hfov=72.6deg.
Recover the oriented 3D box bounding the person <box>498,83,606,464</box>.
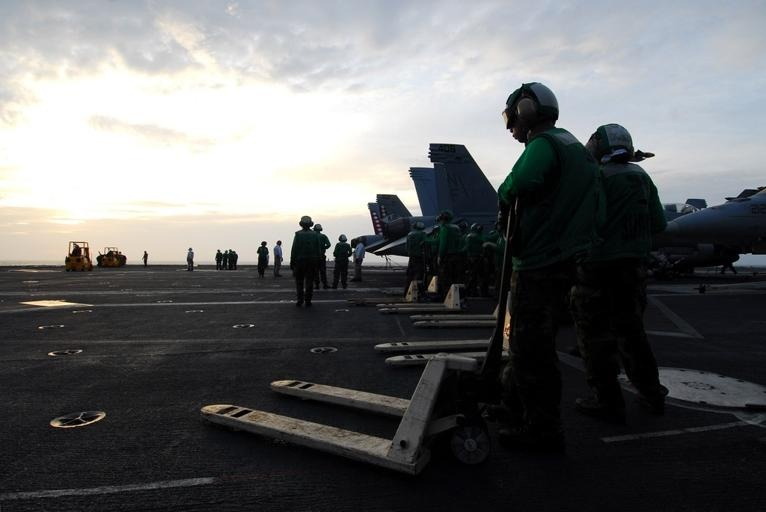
[{"bbox_3d":[1.277,0.071,4.201,0.808,2.882,0.843,4,13,20],"label":"person"}]

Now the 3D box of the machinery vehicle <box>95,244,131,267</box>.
[{"bbox_3d":[-22.784,0.346,43.580,3.095,1.744,1.910,2,6,34],"label":"machinery vehicle"}]

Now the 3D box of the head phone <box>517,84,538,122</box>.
[{"bbox_3d":[1.172,-1.278,4.333,0.206,0.257,0.249,-10,47,13],"label":"head phone"}]

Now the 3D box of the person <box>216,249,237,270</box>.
[{"bbox_3d":[-11.041,0.304,36.675,1.601,1.535,0.514,2,27,-1],"label":"person"}]

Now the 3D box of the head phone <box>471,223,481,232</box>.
[{"bbox_3d":[2.570,-0.761,14.468,0.263,0.248,0.323,3,14,7],"label":"head phone"}]

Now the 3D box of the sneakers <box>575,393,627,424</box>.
[{"bbox_3d":[1.943,1.367,4.668,0.240,0.098,0.296,-2,2,-33],"label":"sneakers"}]
